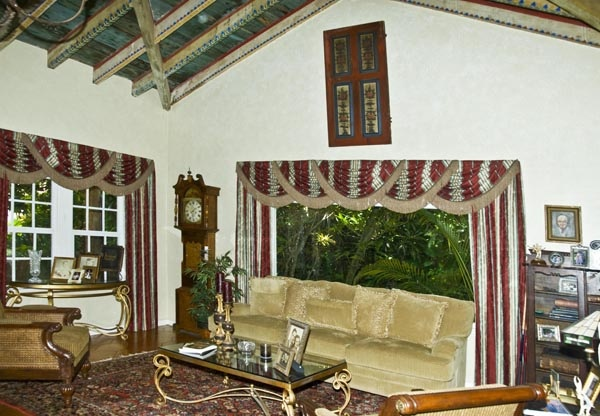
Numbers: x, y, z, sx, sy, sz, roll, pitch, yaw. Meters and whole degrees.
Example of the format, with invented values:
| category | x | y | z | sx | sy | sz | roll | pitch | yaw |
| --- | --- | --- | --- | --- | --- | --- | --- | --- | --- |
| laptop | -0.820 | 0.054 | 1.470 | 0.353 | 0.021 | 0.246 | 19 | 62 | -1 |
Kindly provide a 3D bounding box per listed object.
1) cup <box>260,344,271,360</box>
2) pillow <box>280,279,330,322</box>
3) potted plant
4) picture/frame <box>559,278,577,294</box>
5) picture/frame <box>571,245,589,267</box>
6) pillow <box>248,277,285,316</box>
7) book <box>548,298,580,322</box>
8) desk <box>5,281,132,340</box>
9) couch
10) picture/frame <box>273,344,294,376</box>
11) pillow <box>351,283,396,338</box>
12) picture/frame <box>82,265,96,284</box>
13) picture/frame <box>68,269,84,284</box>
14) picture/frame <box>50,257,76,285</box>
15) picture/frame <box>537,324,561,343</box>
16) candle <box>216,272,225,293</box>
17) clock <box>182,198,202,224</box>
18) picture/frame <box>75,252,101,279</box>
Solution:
| category | x | y | z | sx | sy | sz | roll | pitch | yaw |
| --- | --- | --- | --- | --- | --- | --- | --- | --- | --- |
| cup | -0.360 | 1.535 | 6.104 | 0.125 | 0.150 | 0.136 | 2 | -2 | 0 |
| pillow | 0.004 | 1.248 | 7.745 | 0.483 | 0.538 | 0.153 | 7 | -8 | 24 |
| potted plant | -1.175 | 1.120 | 8.407 | 0.690 | 1.122 | 0.724 | 0 | -7 | 20 |
| picture/frame | 3.018 | 0.883 | 6.472 | 0.153 | 0.163 | 0.056 | 1 | -12 | 35 |
| picture/frame | 3.134 | 0.549 | 6.447 | 0.197 | 0.280 | 0.033 | -2 | -16 | 36 |
| pillow | -0.463 | 1.254 | 8.062 | 0.533 | 0.650 | 0.210 | 2 | 8 | -3 |
| book | 2.960 | 1.151 | 6.429 | 0.289 | 0.135 | 0.382 | 1 | -1 | 29 |
| desk | -3.098 | 1.269 | 8.001 | 1.076 | 0.718 | 1.040 | 1 | 1 | 9 |
| couch | 0.477 | 1.694 | 7.514 | 3.367 | 1.401 | 1.146 | 2 | -2 | 38 |
| picture/frame | -0.162 | 1.566 | 5.884 | 0.028 | 0.282 | 0.258 | 24 | -15 | -39 |
| pillow | 0.928 | 1.319 | 7.250 | 0.513 | 0.559 | 0.155 | 1 | -5 | 41 |
| picture/frame | -2.903 | 0.929 | 7.929 | 0.216 | 0.324 | 0.033 | 1 | -34 | -13 |
| picture/frame | -3.067 | 0.949 | 7.869 | 0.155 | 0.198 | 0.014 | 5 | -18 | 9 |
| picture/frame | -3.239 | 0.874 | 7.898 | 0.321 | 0.411 | 0.016 | 4 | -30 | -2 |
| picture/frame | 2.804 | 1.420 | 6.464 | 0.187 | 0.175 | 0.021 | -3 | -7 | 26 |
| candle | -0.878 | 0.835 | 6.362 | 0.096 | 0.235 | 0.074 | 2 | -3 | -11 |
| clock | -1.663 | 0.054 | 8.872 | 0.333 | 0.362 | 0.334 | 3 | -4 | -27 |
| picture/frame | -2.941 | 0.808 | 7.986 | 0.320 | 0.426 | 0.044 | 0 | -22 | -4 |
